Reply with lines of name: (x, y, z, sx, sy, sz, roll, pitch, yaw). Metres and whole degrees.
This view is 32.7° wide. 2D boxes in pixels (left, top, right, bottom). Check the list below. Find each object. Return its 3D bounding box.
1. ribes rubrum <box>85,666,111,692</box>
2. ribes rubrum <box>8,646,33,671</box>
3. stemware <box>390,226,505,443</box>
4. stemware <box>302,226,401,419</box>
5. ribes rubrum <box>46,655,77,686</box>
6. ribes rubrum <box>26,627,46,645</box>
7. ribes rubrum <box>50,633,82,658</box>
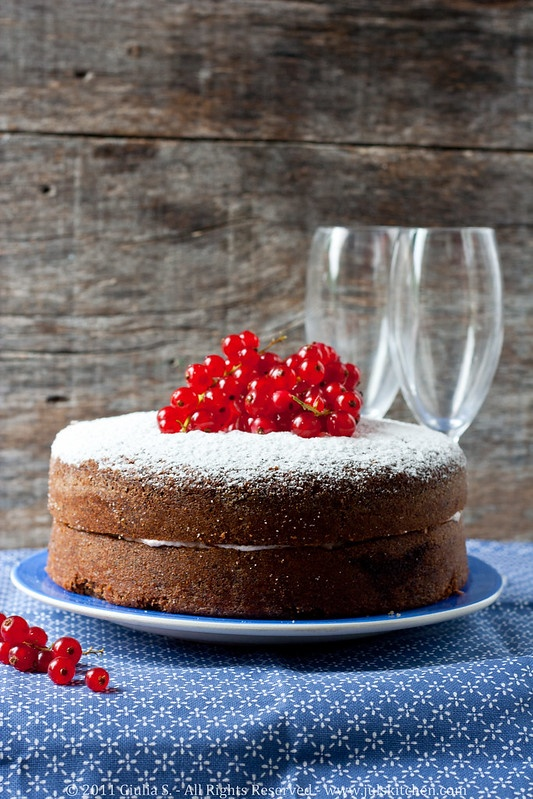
ribes rubrum: (-0.138, 0.230, 0.744, 0.020, 0.017, 0.016, 24, -9, 2)
ribes rubrum: (-0.216, 0.229, 0.811, 0.021, 0.021, 0.023, 4, 2, 10)
stemware: (0.214, -0.016, 1.111, 0.146, 0.366, 0.133, -1, 8, 12)
stemware: (0.108, -0.084, 1.206, 0.146, 0.269, 0.116, 1, -5, -19)
ribes rubrum: (-0.173, 0.230, 0.767, 0.024, 0.019, 0.025, -10, 11, -8)
ribes rubrum: (-0.208, 0.215, 0.829, 0.016, 0.013, 0.015, -10, -1, 27)
ribes rubrum: (-0.175, 0.220, 0.804, 0.022, 0.019, 0.020, -29, 22, -12)
